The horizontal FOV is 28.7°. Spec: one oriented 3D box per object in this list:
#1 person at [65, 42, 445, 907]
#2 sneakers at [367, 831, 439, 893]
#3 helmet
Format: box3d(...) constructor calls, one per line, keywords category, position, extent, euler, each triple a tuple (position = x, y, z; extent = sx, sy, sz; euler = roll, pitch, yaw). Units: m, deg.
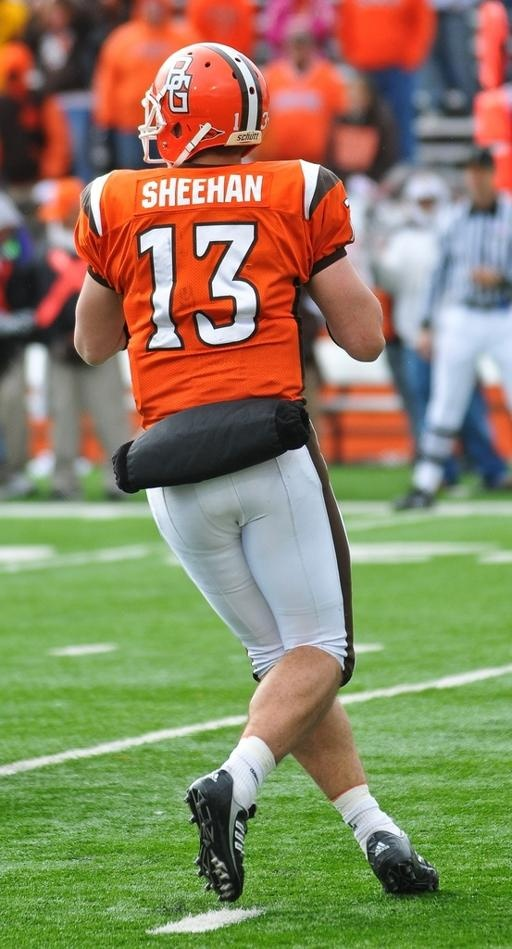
box3d(category="person", position=(0.021, 0.033, 1.703), extent=(0.508, 1.377, 0.921), euler=(-13, 28, -9))
box3d(category="sneakers", position=(0.252, 0.678, 1.713), extent=(0.063, 0.148, 0.075), euler=(-29, 35, 14))
box3d(category="helmet", position=(-0.134, -0.649, 1.747), extent=(0.247, 0.206, 0.188), euler=(8, 12, 35))
